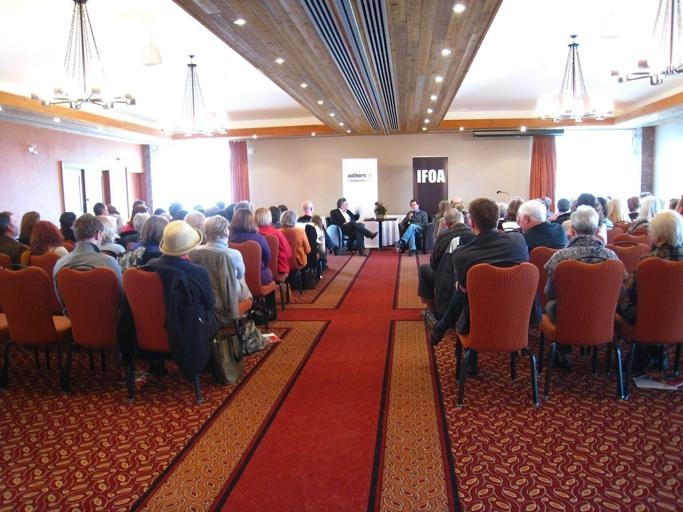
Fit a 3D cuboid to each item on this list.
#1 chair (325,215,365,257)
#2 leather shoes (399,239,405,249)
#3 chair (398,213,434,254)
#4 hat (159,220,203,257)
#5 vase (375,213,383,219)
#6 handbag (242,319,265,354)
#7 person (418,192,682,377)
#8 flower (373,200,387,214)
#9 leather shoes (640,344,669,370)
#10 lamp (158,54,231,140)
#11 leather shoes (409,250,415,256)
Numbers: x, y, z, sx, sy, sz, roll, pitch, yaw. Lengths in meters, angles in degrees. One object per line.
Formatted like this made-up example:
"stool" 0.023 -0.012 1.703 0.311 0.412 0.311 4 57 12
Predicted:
"chair" 0.033 -0.546 11.951 0.722 1.151 0.950 1 1 -1
"leather shoes" 1.435 -0.277 11.617 0.126 0.245 0.292 -1 6 7
"chair" 1.769 -0.564 11.709 0.779 1.572 0.855 -1 -4 21
"hat" -1.370 -0.188 4.244 0.279 0.134 0.332 26 51 18
"vase" 0.921 -0.999 12.122 0.147 0.106 0.159 0 -1 0
"handbag" -0.930 0.874 5.313 0.229 0.321 0.426 -7 -11 -1
"person" 1.938 0.313 4.574 1.620 0.691 1.235 -2 10 9
"flower" 0.950 -1.232 12.218 0.291 0.321 0.345 -1 9 2
"leather shoes" 2.883 0.943 4.595 0.199 0.083 0.259 2 10 21
"lamp" -3.183 -3.532 10.671 1.193 1.552 1.250 -6 -6 34
"leather shoes" 1.616 -0.090 11.343 0.133 0.105 0.286 -2 6 4
